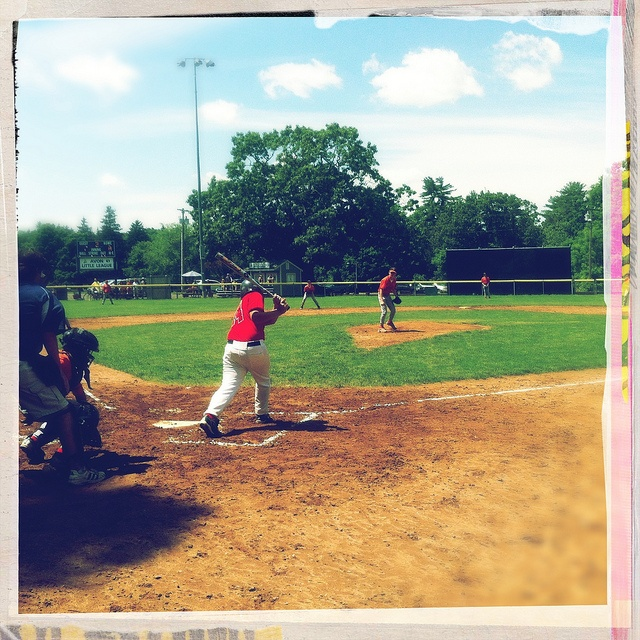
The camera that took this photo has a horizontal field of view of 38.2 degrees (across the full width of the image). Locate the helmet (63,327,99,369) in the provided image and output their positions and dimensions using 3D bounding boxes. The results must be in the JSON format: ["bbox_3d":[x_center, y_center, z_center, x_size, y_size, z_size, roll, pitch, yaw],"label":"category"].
[{"bbox_3d":[-2.117,0.264,8.175,0.305,0.310,0.272,6,12,-34],"label":"helmet"}]

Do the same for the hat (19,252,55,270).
[{"bbox_3d":[-2.199,-0.443,6.995,0.128,0.075,0.157,12,-2,-33],"label":"hat"}]

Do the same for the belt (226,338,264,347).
[{"bbox_3d":[-0.674,0.216,8.192,0.273,0.056,0.111,0,7,7],"label":"belt"}]

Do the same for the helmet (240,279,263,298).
[{"bbox_3d":[-0.625,-0.282,8.339,0.169,0.184,0.134,-10,8,-13],"label":"helmet"}]

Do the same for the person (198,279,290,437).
[{"bbox_3d":[-0.600,0.342,8.414,0.685,1.411,0.970,2,8,17],"label":"person"}]

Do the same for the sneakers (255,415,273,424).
[{"bbox_3d":[-0.554,1.002,9.202,0.069,0.093,0.210,4,2,37],"label":"sneakers"}]

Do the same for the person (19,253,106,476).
[{"bbox_3d":[-2.103,0.421,6.966,0.403,1.827,0.768,3,9,28],"label":"person"}]

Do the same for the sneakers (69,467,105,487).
[{"bbox_3d":[-1.848,1.248,7.291,0.263,0.131,0.098,-1,7,-20],"label":"sneakers"}]
